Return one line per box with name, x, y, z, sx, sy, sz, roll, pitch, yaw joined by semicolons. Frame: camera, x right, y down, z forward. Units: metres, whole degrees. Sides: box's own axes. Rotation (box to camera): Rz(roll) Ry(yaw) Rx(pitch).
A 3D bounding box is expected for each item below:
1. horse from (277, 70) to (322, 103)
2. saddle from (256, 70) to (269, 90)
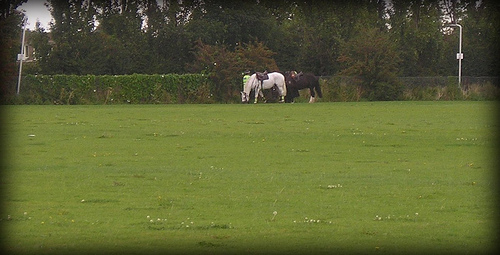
horse;4.438;-3.835;67.716;5.578;2.929;1.297;-2;-5;-28
saddle;1.097;-4.598;66.799;1.674;1.704;1.212;1;5;1
